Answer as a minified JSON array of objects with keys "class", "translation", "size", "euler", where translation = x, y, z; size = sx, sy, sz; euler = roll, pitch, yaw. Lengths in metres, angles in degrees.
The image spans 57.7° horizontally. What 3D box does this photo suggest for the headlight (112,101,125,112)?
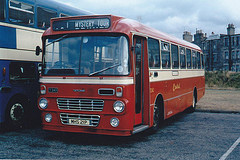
[{"class":"headlight","translation":[-0.030,0.774,6.320],"size":[0.245,0.312,0.303],"euler":[3,1,20]}]
